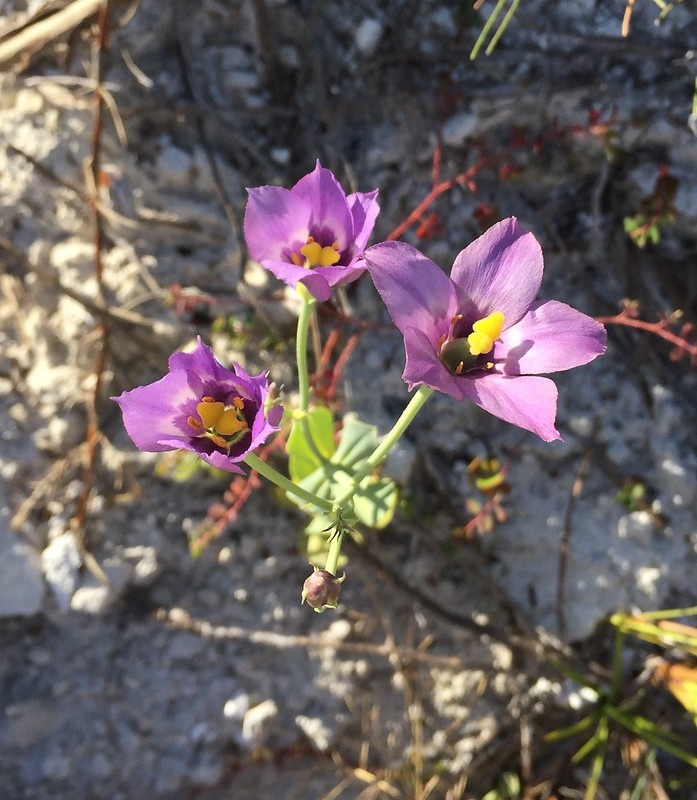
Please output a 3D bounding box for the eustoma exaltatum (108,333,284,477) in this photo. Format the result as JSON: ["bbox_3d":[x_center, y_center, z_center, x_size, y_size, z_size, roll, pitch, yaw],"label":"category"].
[{"bbox_3d":[-0.400,0.037,2.409,0.390,0.238,0.344,35,80,4],"label":"eustoma exaltatum"}]

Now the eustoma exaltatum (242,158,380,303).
[{"bbox_3d":[-0.087,-0.456,2.519,0.385,0.255,0.393,10,53,4],"label":"eustoma exaltatum"}]

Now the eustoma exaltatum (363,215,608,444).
[{"bbox_3d":[0.304,-0.180,2.589,0.686,0.337,0.638,-20,78,-13],"label":"eustoma exaltatum"}]
